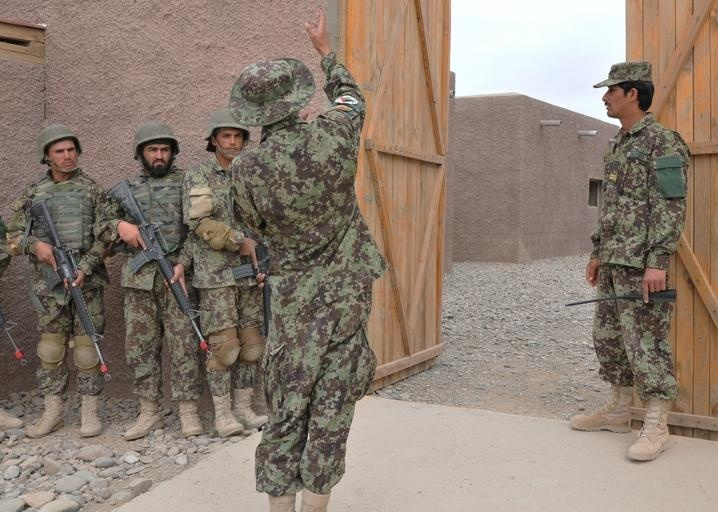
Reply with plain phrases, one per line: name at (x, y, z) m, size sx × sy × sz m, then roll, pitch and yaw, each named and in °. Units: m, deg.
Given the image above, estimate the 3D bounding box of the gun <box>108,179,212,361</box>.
gun at (-1.509, 0.074, 6.131) m, size 0.452 × 1.616 × 0.183 m, roll -26°, pitch -1°, yaw 9°

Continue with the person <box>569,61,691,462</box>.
person at (1.904, -0.001, 5.455) m, size 0.749 × 2.662 × 0.897 m, roll -4°, pitch 11°, yaw -2°

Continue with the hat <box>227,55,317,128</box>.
hat at (-0.466, -0.889, 4.309) m, size 0.463 × 0.392 × 0.164 m, roll -23°, pitch -29°, yaw 2°

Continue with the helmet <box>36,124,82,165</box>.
helmet at (-2.371, -0.888, 6.271) m, size 0.314 × 0.254 × 0.331 m, roll -6°, pitch 22°, yaw -34°

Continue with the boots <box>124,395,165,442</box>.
boots at (-1.697, 1.268, 6.176) m, size 0.143 × 0.251 × 0.401 m, roll 0°, pitch 9°, yaw 27°

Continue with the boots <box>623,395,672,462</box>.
boots at (1.960, 1.169, 5.361) m, size 0.175 × 0.379 × 0.373 m, roll 6°, pitch 14°, yaw 42°

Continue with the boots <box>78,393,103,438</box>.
boots at (-2.117, 1.238, 6.211) m, size 0.154 × 0.273 × 0.366 m, roll 0°, pitch 20°, yaw -22°

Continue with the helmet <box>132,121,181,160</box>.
helmet at (-1.577, -0.913, 6.176) m, size 0.326 × 0.232 × 0.317 m, roll -4°, pitch 18°, yaw -21°

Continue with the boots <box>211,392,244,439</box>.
boots at (-1.034, 1.196, 6.205) m, size 0.160 × 0.294 × 0.435 m, roll 18°, pitch -6°, yaw 8°

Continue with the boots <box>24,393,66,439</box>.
boots at (-2.464, 1.259, 6.175) m, size 0.156 × 0.271 × 0.415 m, roll 0°, pitch 4°, yaw 15°

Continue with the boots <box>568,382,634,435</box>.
boots at (1.817, 1.150, 5.938) m, size 0.604 × 0.403 × 0.220 m, roll 4°, pitch -5°, yaw 11°

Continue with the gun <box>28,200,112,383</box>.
gun at (-2.273, 0.237, 6.222) m, size 0.499 × 1.562 × 0.178 m, roll -19°, pitch 0°, yaw 11°
